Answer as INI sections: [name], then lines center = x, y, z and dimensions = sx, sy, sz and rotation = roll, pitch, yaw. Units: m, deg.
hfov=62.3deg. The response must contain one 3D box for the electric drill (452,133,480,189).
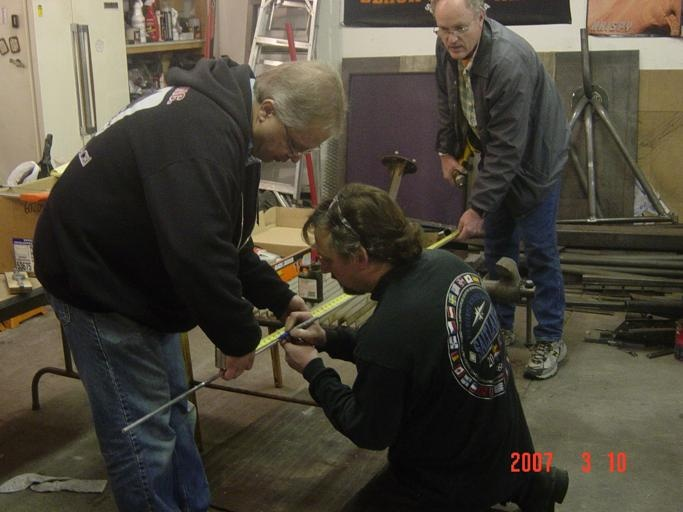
[electric drill]
center = 0.910, -0.695, 4.139
dimensions = 0.177, 0.155, 0.621
rotation = -23, 44, 38
